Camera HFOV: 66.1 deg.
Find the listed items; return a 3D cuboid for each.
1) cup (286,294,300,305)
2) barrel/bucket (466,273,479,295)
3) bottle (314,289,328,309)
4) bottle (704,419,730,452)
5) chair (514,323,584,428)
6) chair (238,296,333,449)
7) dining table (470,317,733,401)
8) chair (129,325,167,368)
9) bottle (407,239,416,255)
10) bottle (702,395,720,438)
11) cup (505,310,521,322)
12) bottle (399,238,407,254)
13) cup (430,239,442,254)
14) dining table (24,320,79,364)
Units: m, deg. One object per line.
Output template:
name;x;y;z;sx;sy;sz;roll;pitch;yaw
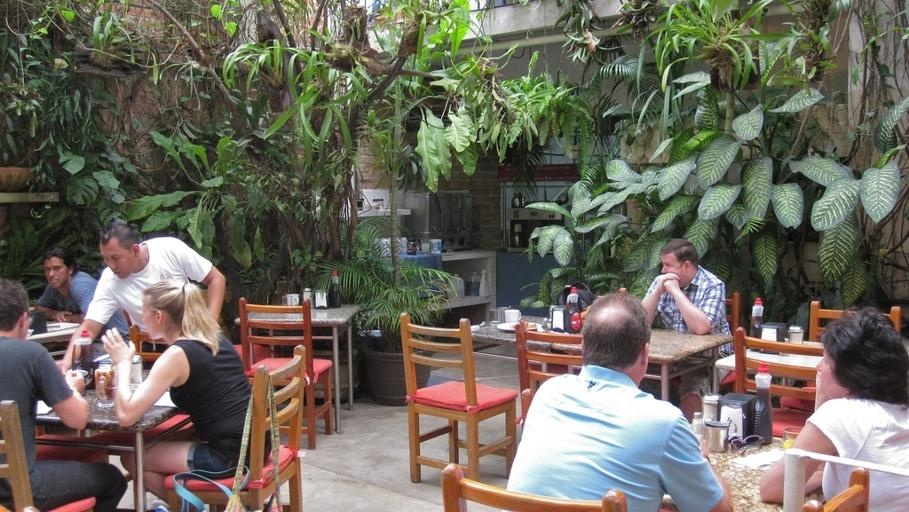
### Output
cup;-1.726;0.463;7.449;0.141;0.097;0.100;0;1;27
barrel/bucket;0.271;0.396;10.392;0.197;0.339;0.128;1;2;1
bottle;-1.408;0.455;7.329;0.166;0.170;0.167;0;2;36
bottle;1.590;1.095;4.342;0.194;0.190;0.193;1;4;27
chair;0.779;0.839;5.649;0.474;0.583;0.485;1;14;5
chair;-1.657;1.102;6.949;1.036;1.293;1.004;1;2;-22
dining table;1.708;0.799;5.822;1.430;0.648;0.773;0;2;36
chair;-2.722;0.821;6.208;0.369;0.443;0.332;-5;-16;-15
bottle;-0.590;-0.119;9.601;0.188;0.043;0.164;10;46;5
bottle;1.614;0.978;4.402;0.151;0.213;0.147;-2;6;0
cup;0.547;0.557;6.513;0.139;0.098;0.105;1;-1;-23
bottle;-0.692;-0.145;9.252;0.104;0.224;0.387;1;1;-6
cup;-0.277;-0.142;9.728;0.146;0.210;0.284;1;1;-5
dining table;-3.643;0.668;6.367;0.413;0.274;0.192;-17;49;-30
